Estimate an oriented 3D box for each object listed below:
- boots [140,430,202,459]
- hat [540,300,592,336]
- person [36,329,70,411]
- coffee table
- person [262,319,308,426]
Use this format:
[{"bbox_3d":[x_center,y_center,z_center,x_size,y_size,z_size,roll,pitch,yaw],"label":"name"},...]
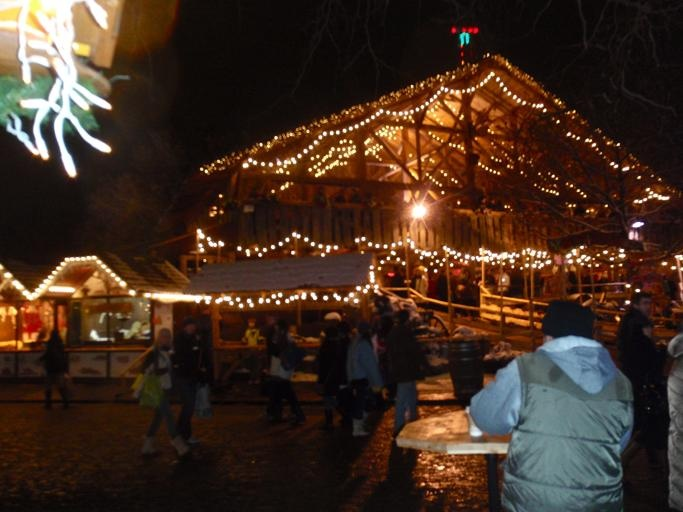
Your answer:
[{"bbox_3d":[-3.053,3.325,11.734,1.093,0.548,0.386,-6,-6,7],"label":"boots"},{"bbox_3d":[2.220,0.609,6.581,0.413,0.401,0.330,-8,-1,1],"label":"hat"},{"bbox_3d":[-7.524,2.933,17.195,0.617,1.505,1.372,-1,0,-25],"label":"person"},{"bbox_3d":[1.247,2.446,7.385,1.208,0.754,1.216,-8,-5,12],"label":"coffee table"},{"bbox_3d":[-1.235,2.437,13.902,0.958,1.849,0.513,-2,-1,35],"label":"person"}]
